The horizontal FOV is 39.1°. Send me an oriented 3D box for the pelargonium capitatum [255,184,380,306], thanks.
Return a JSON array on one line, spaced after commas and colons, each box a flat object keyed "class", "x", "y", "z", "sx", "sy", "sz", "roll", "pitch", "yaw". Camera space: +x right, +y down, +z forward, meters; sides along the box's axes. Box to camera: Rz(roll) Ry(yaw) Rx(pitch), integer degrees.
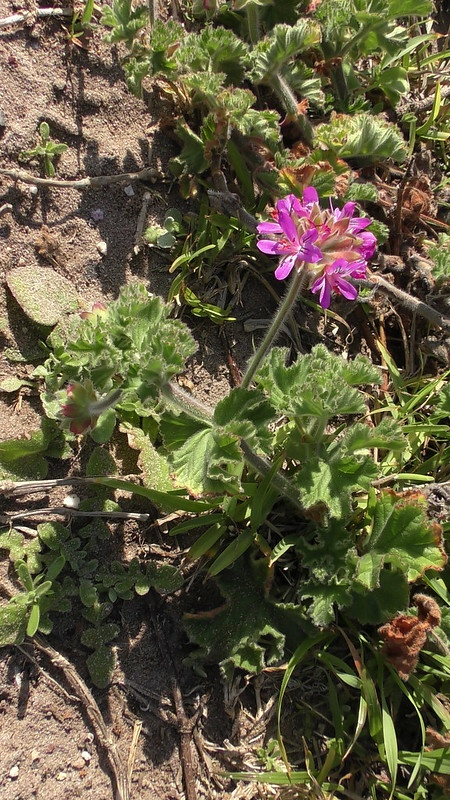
[{"class": "pelargonium capitatum", "x": 0.231, "y": -0.424, "z": 1.803, "sx": 0.329, "sy": 0.338, "sz": 0.163, "roll": -28, "pitch": 9, "yaw": -4}]
